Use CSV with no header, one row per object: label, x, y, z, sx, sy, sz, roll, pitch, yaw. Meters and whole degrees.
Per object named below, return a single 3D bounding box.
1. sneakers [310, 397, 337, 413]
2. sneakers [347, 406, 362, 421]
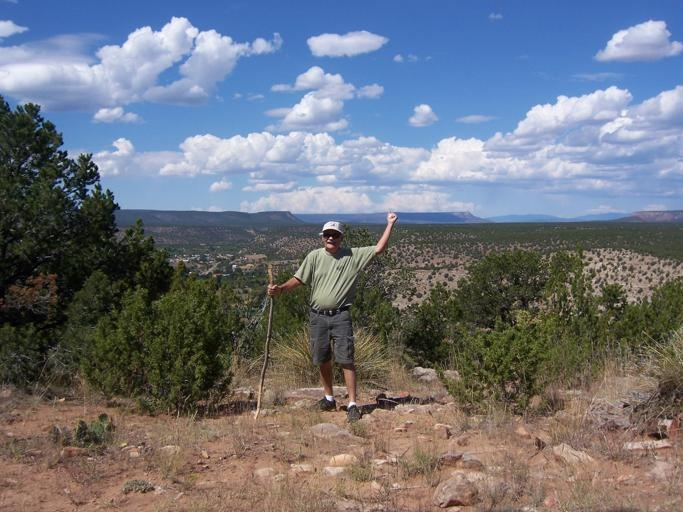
sneakers,-0.284,2.322,8.809,0.384,0.205,0.183,0,-6,4
sneakers,0.191,2.273,8.118,0.140,0.223,0.217,-1,-31,4
